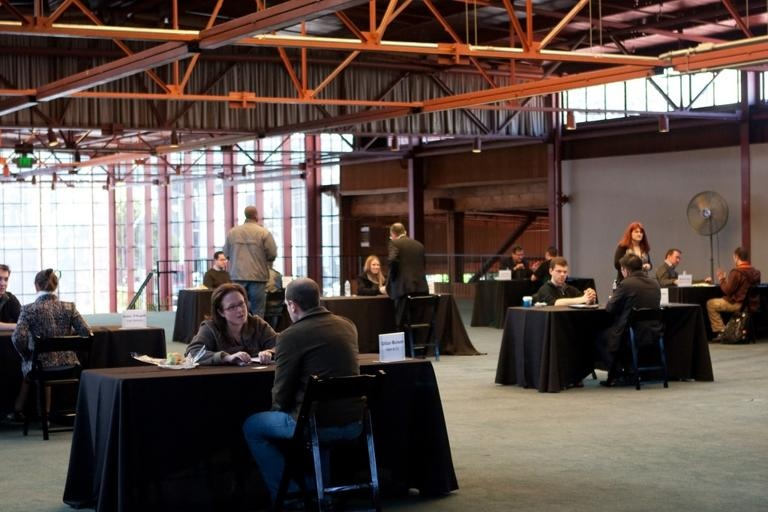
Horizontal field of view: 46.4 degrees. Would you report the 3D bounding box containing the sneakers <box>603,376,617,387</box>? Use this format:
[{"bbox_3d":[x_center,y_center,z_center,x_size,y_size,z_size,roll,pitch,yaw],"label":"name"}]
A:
[{"bbox_3d":[2.841,1.564,11.249,0.073,0.153,0.216,1,3,-30],"label":"sneakers"}]

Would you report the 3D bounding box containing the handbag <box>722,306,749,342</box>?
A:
[{"bbox_3d":[5.888,1.142,14.781,0.485,0.204,0.382,-55,9,-35],"label":"handbag"}]

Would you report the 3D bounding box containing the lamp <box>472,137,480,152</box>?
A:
[{"bbox_3d":[1.990,-2.404,18.929,0.139,0.272,0.267,-2,-2,-4],"label":"lamp"}]

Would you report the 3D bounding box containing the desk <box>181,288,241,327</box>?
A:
[{"bbox_3d":[-3.073,0.819,15.711,1.036,1.002,0.880,-1,3,-23],"label":"desk"}]

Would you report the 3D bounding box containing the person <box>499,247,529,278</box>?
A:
[{"bbox_3d":[2.735,0.114,18.131,0.483,0.668,1.176,-3,-2,9],"label":"person"}]

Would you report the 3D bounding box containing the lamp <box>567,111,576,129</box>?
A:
[{"bbox_3d":[3.729,-2.716,17.706,0.112,0.427,1.039,-3,-2,16],"label":"lamp"}]

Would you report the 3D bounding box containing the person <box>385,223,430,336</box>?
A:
[{"bbox_3d":[0.340,0.288,13.120,0.597,1.535,0.444,-2,-2,-13],"label":"person"}]

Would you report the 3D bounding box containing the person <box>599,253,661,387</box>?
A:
[{"bbox_3d":[3.057,0.782,11.042,0.643,1.084,0.628,-1,-2,-28],"label":"person"}]

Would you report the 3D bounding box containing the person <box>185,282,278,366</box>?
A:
[{"bbox_3d":[-1.393,0.592,8.073,0.664,0.679,0.774,-4,2,-33],"label":"person"}]

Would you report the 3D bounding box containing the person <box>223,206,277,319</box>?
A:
[{"bbox_3d":[-1.999,0.268,13.251,0.699,1.995,0.678,0,1,-9],"label":"person"}]
